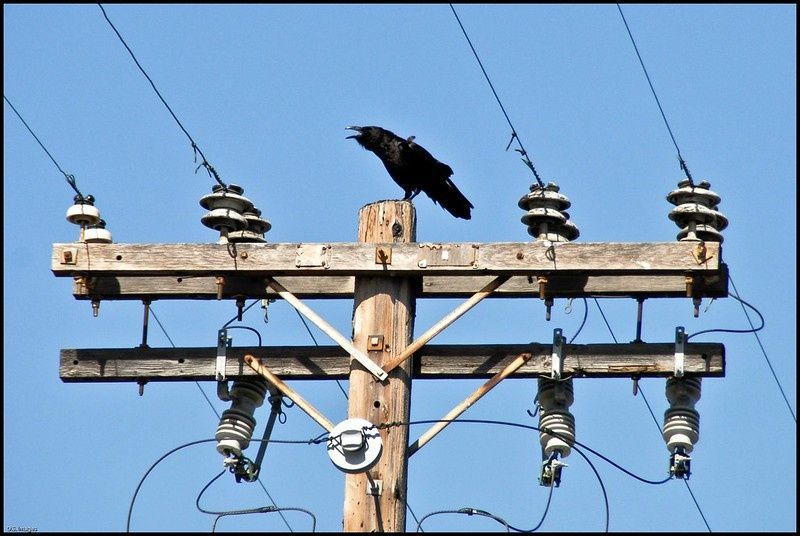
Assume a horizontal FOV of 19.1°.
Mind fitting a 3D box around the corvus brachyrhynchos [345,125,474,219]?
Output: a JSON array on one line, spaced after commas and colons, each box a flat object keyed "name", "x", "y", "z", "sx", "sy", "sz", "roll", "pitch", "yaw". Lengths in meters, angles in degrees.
[{"name": "corvus brachyrhynchos", "x": 0.129, "y": -0.933, "z": 24.177, "sx": 1.659, "sy": 0.702, "sz": 0.560, "roll": 8, "pitch": -7, "yaw": -38}]
